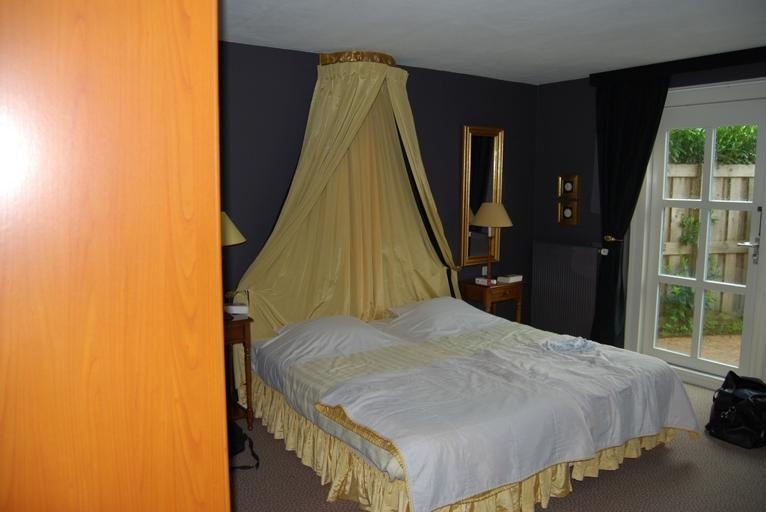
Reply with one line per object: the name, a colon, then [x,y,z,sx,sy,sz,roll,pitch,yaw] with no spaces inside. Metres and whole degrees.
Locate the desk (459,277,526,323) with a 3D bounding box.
desk: [1.188,0.367,5.857,0.563,0.716,0.457,-4,5,-44]

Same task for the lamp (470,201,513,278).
lamp: [1.103,-0.147,5.739,0.365,0.812,0.480,-1,13,2]

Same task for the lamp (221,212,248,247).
lamp: [-1.130,-0.171,4.204,0.141,0.292,0.542,-5,13,-15]

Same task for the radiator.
radiator: [1.933,0.343,5.782,0.106,1.315,0.893,-3,6,-35]

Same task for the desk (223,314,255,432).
desk: [-1.082,0.840,4.278,0.213,0.885,0.408,-5,14,-16]
